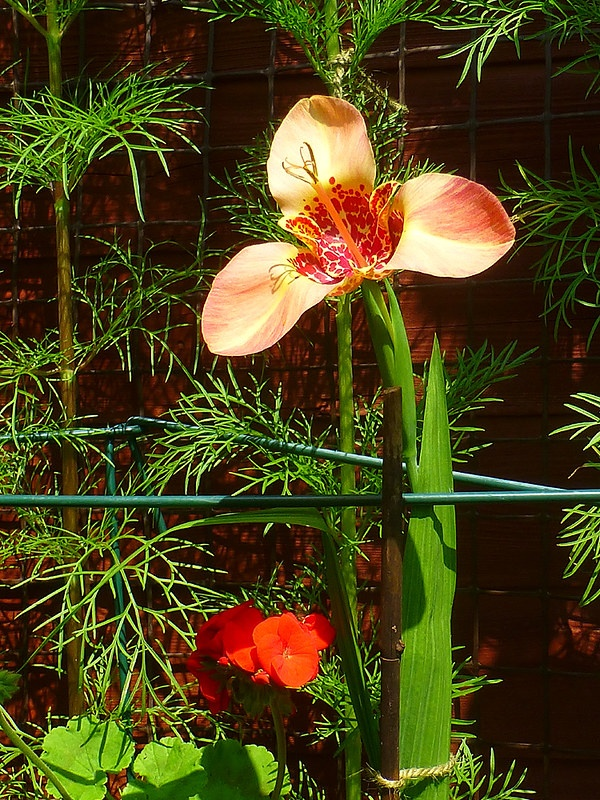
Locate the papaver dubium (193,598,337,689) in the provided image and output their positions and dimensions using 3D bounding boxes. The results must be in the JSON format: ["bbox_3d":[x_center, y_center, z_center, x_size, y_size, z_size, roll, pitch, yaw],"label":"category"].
[{"bbox_3d":[-0.042,0.276,1.135,0.165,0.085,0.110,-1,-2,-5],"label":"papaver dubium"}]

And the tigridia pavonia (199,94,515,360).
[{"bbox_3d":[0.054,-0.160,0.908,0.264,0.244,0.118,-1,-2,9],"label":"tigridia pavonia"}]
